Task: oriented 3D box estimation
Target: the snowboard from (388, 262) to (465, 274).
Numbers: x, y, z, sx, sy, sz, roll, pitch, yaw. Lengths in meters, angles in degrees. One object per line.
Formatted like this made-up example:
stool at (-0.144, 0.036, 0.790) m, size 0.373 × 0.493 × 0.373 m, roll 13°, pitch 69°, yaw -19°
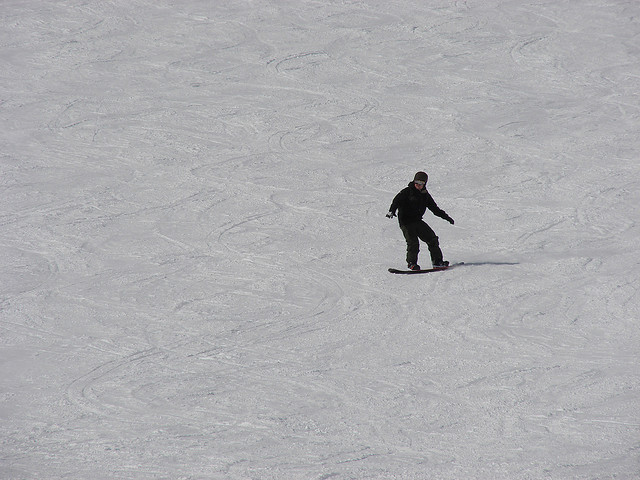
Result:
snowboard at (1.867, 0.504, 15.609) m, size 2.011 × 0.136 × 0.127 m, roll -2°, pitch 55°, yaw -2°

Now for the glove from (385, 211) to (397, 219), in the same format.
glove at (1.203, -0.395, 15.263) m, size 0.185 × 0.038 × 0.107 m, roll 4°, pitch 43°, yaw -9°
